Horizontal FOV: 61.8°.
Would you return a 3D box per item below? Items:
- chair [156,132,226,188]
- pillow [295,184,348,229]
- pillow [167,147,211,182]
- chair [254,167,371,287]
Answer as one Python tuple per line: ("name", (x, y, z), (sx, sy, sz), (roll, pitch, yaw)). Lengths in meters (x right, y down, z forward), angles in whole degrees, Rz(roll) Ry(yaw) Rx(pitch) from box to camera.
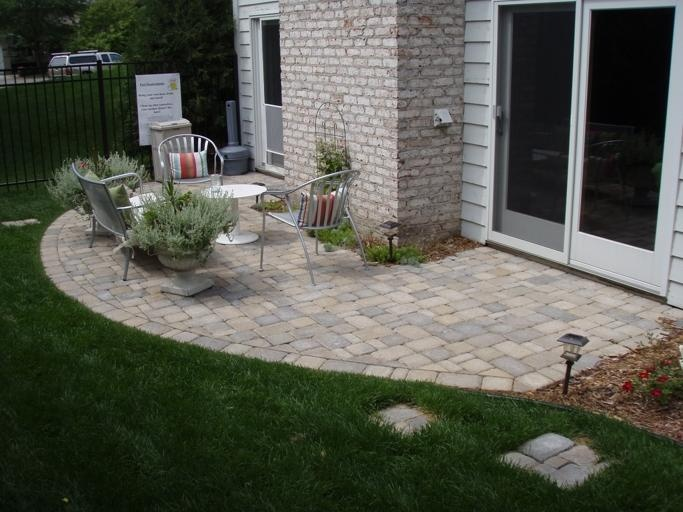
("chair", (-2.299, -1.363, 8.710), (1.058, 0.698, 0.956), (-1, 31, 13))
("pillow", (-0.239, -0.530, 6.429), (0.247, 0.370, 0.676), (8, 16, 43))
("pillow", (-2.269, -1.350, 8.570), (0.622, 0.412, 0.406), (-13, 22, -29))
("chair", (-0.318, -0.446, 6.689), (1.260, 0.944, 1.078), (3, 11, 18))
